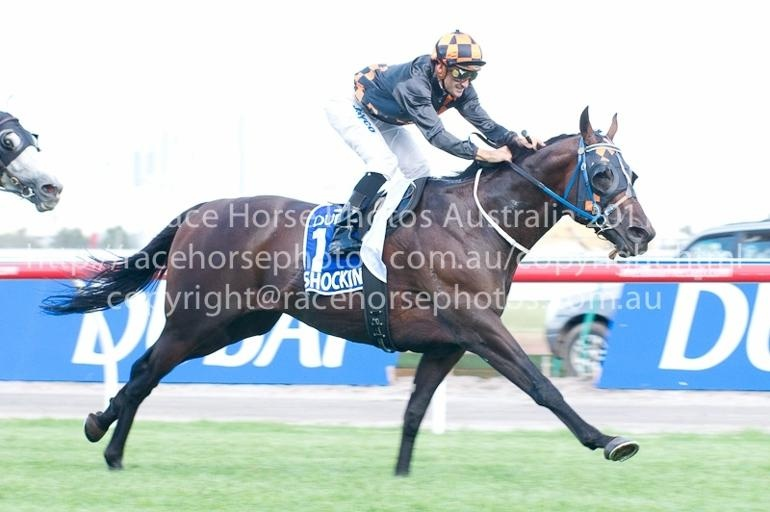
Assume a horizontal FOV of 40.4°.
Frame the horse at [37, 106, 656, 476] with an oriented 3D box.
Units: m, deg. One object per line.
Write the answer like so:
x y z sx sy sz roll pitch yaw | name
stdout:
-0.385 0.306 7.266 4.513 2.018 0.837 -3 -4 23 | horse

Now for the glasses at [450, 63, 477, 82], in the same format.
0.511 -1.183 6.941 0.137 0.137 0.053 6 -32 3 | glasses

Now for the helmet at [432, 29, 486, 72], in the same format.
0.495 -1.365 6.957 0.322 0.217 0.415 -17 25 -32 | helmet
